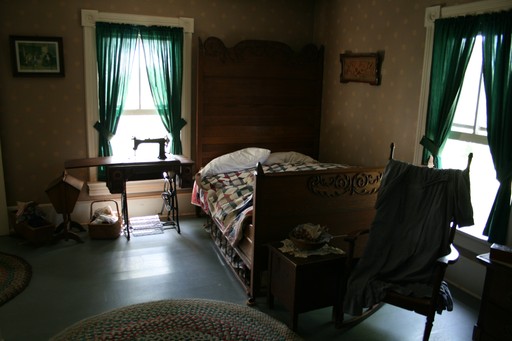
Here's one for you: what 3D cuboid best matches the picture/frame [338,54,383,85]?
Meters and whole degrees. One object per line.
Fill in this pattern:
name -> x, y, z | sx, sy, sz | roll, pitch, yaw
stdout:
picture/frame -> 1.420, -1.375, 4.925 | 0.122, 0.437, 0.712 | -9, 17, -26

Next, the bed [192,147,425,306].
bed -> 0.476, 0.235, 5.065 | 2.417, 1.644, 2.751 | -7, 15, -21

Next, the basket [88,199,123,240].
basket -> -1.972, 0.685, 4.974 | 0.413, 0.555, 0.557 | 1, 0, -14

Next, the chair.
chair -> 1.357, 0.625, 3.259 | 0.961, 1.495, 0.903 | 8, 18, 32

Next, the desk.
desk -> -1.387, 0.349, 4.961 | 1.268, 0.835, 0.574 | -6, 4, 3
